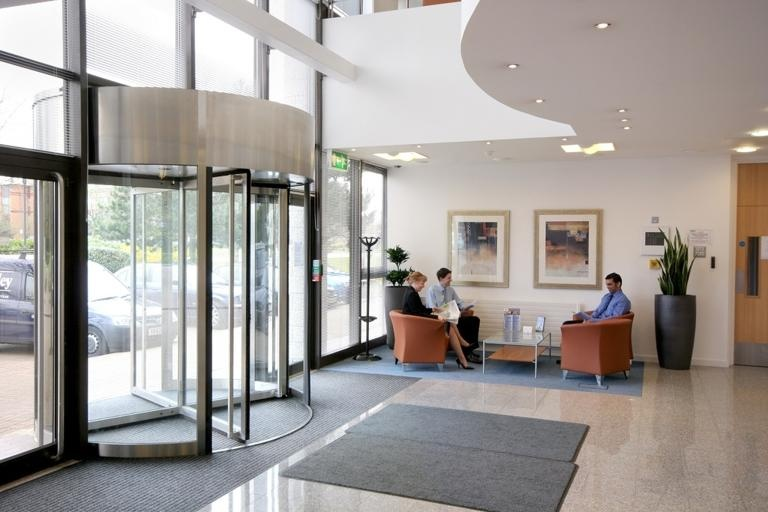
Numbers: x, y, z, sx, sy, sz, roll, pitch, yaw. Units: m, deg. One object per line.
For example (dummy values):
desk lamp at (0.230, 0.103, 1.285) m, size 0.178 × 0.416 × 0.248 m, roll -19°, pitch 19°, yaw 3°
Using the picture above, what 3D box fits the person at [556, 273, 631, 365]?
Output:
person at (3.295, 1.065, 9.446) m, size 1.043 × 1.647 × 0.730 m, roll 10°, pitch 5°, yaw 9°

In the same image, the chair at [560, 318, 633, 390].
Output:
chair at (3.161, 1.410, 8.916) m, size 1.003 × 1.054 × 0.993 m, roll 1°, pitch 0°, yaw -43°

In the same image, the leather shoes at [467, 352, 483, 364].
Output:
leather shoes at (1.506, 1.710, 9.847) m, size 0.159 × 0.072 × 0.209 m, roll 1°, pitch -4°, yaw -43°

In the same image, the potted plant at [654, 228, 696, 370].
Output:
potted plant at (4.688, 0.731, 9.530) m, size 0.601 × 2.069 × 0.708 m, roll 3°, pitch 6°, yaw 23°

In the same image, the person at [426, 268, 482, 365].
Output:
person at (1.181, 1.002, 10.137) m, size 0.868 × 1.478 × 0.591 m, roll 3°, pitch 14°, yaw 18°

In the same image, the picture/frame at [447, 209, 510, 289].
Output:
picture/frame at (1.782, -0.135, 10.925) m, size 1.589 × 1.792 × 0.094 m, roll 0°, pitch -1°, yaw 26°

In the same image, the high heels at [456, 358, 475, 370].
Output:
high heels at (1.279, 1.745, 9.429) m, size 0.297 × 0.137 × 0.098 m, roll -4°, pitch -7°, yaw 21°

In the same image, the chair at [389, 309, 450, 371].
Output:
chair at (0.518, 1.270, 9.319) m, size 0.912 × 0.842 × 0.936 m, roll -1°, pitch -1°, yaw -6°

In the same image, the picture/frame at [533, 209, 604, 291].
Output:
picture/frame at (3.288, -0.127, 10.393) m, size 1.555 × 1.756 × 0.123 m, roll 0°, pitch -2°, yaw 21°
